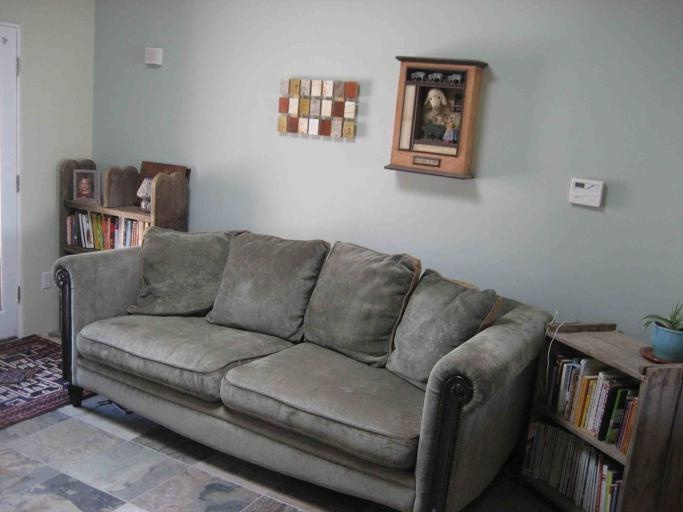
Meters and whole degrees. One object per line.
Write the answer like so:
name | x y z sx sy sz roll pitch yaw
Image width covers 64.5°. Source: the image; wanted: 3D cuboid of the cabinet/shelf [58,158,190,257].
cabinet/shelf | -1.658 -0.216 4.105 1.012 0.954 0.324 8 12 25
